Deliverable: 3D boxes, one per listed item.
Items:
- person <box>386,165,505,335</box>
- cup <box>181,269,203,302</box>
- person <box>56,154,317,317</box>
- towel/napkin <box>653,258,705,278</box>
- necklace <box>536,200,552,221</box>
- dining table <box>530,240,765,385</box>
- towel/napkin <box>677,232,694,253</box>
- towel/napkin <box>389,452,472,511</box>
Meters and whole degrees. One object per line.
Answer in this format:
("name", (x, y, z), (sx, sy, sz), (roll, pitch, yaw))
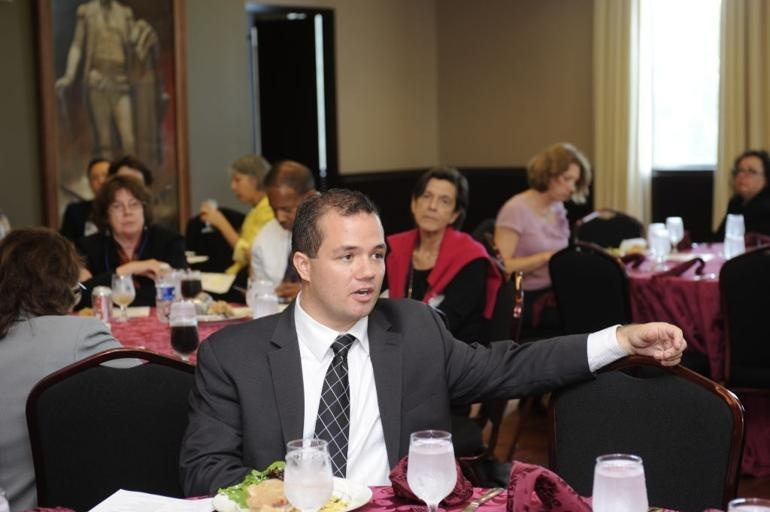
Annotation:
("person", (0.221, 0.031, 3.013), (0.610, 0.883, 0.520), (7, 3, 40))
("cup", (-0.916, 0.138, 2.975), (0.122, 0.174, 0.117), (0, 8, 0))
("person", (-1.110, -0.104, 4.097), (1.105, 1.319, 0.909), (0, 2, -15))
("towel/napkin", (1.576, 0.055, 3.350), (0.419, 0.129, 0.112), (0, 4, -37))
("necklace", (0.778, -0.216, 3.075), (0.053, 0.074, 0.019), (-6, 28, 0))
("dining table", (1.372, 0.251, 3.405), (0.635, 1.030, 0.584), (-2, 8, -10))
("towel/napkin", (1.752, -0.088, 3.700), (0.084, 0.140, 0.138), (-1, -6, 5))
("towel/napkin", (0.099, 0.497, 1.422), (0.115, 0.043, 0.116), (0, -1, 34))
